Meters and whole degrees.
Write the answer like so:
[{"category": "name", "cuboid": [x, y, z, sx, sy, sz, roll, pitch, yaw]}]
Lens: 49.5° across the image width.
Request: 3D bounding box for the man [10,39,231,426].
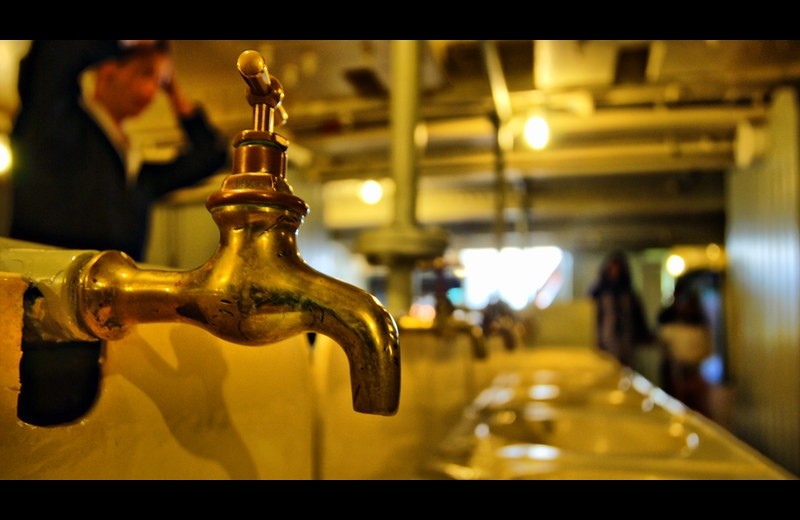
[{"category": "man", "cuboid": [-0.550, -0.087, 1.614, 0.256, 0.979, 0.353, -31, -38, 32]}]
